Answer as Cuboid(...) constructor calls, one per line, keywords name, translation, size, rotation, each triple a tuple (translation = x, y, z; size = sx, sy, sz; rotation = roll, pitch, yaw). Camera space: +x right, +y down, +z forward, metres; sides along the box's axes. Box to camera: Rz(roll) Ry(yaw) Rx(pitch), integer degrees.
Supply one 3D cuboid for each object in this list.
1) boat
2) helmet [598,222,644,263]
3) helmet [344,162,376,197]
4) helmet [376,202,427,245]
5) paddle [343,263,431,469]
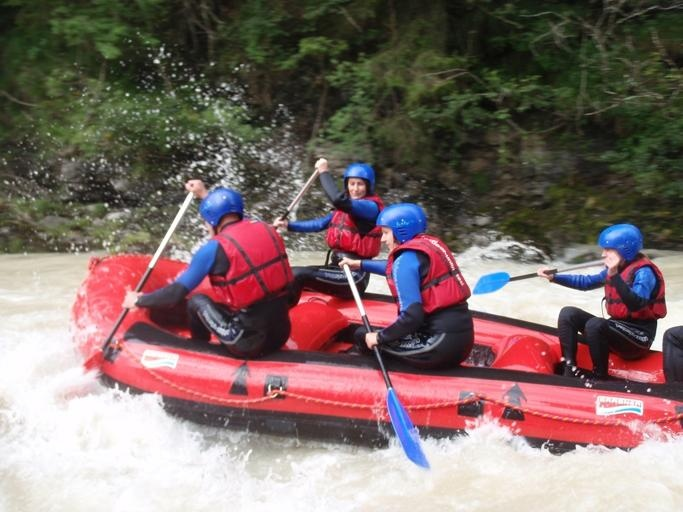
Cuboid(name="boat", translation=(0.150, 0.902, 6.126), size=(5.532, 1.039, 1.803), rotation=(6, 33, 6))
Cuboid(name="helmet", translation=(2.333, -0.110, 6.060), size=(0.396, 0.280, 0.295), rotation=(-10, 10, 2))
Cuboid(name="helmet", translation=(0.133, -0.775, 7.262), size=(0.396, 0.360, 0.436), rotation=(4, 14, 14))
Cuboid(name="helmet", translation=(0.486, -0.274, 5.937), size=(0.439, 0.300, 0.302), rotation=(-1, 9, -3))
Cuboid(name="paddle", translation=(0.397, 0.950, 5.841), size=(0.254, 1.248, 1.056), rotation=(-6, 10, -18))
